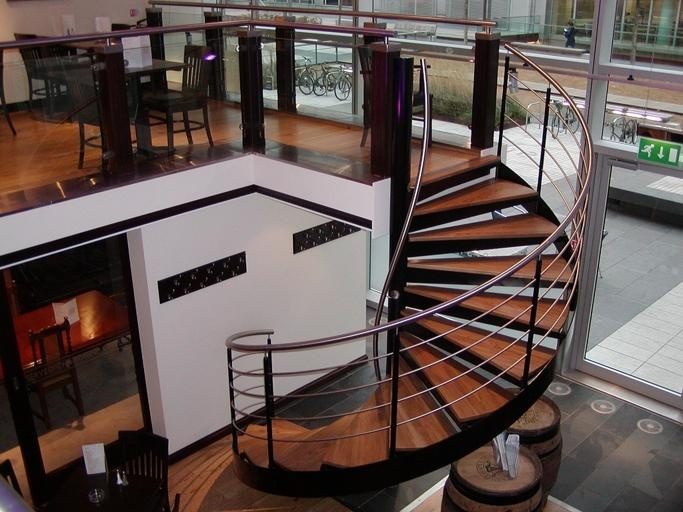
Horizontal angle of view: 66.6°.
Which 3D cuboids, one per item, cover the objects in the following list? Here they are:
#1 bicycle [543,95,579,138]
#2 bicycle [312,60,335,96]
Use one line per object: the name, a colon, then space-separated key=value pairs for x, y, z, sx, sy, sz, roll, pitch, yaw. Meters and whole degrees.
bicycle: x=2.766 y=-1.682 z=6.439 sx=0.368 sy=0.507 sz=0.412 roll=-3 pitch=24 yaw=-4
bicycle: x=-0.184 y=-1.743 z=5.191 sx=0.295 sy=0.314 sz=0.084 roll=17 pitch=30 yaw=37
